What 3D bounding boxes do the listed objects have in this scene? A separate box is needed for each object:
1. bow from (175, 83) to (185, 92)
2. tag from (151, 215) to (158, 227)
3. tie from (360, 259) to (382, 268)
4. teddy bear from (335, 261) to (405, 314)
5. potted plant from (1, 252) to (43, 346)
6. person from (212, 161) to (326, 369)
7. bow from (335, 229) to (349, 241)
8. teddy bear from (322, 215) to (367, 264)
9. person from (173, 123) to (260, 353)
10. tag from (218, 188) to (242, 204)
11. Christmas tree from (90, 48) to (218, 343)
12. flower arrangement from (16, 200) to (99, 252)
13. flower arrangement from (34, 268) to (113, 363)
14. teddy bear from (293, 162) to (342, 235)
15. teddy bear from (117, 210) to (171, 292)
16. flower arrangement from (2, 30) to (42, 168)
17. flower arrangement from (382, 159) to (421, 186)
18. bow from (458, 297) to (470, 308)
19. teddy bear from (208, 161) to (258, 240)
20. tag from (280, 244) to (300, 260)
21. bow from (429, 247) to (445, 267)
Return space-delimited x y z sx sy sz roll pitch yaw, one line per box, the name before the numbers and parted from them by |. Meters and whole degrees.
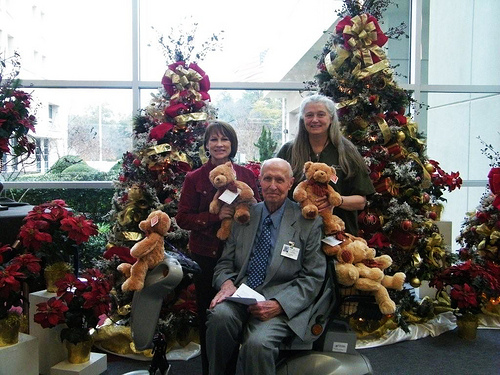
bow | -0.766 -1.103 4.495 0.078 0.069 0.018 -1 6 15
tag | -0.713 0.256 3.083 0.077 0.074 0.008 -13 -27 28
tie | 0.903 0.574 3.091 0.126 0.067 0.042 21 -29 -20
teddy bear | 0.875 0.728 3.011 0.519 0.358 0.248 0 9 4
potted plant | -1.851 0.873 3.367 0.307 0.675 0.457 -5 10 -27
person | 0.126 0.558 3.014 0.807 1.464 0.755 3 10 17
bow | 0.700 0.370 3.158 0.075 0.035 0.074 -8 13 -36
teddy bear | 0.668 0.409 3.137 0.282 0.151 0.360 -5 46 -25
person | -0.260 0.459 3.601 0.779 1.960 0.553 1 27 -4
tag | -0.159 0.065 3.248 0.134 0.094 0.006 10 -31 0
Christmas tree | -1.067 -0.179 4.396 1.106 3.395 0.969 -1 9 -28
flower arrangement | -1.567 0.263 3.514 0.570 0.422 0.517 1 7 13
flower arrangement | -1.435 1.091 3.387 0.565 0.767 0.294 -3 10 -19
teddy bear | 0.535 0.060 3.246 0.407 0.541 0.324 7 3 9
teddy bear | -0.848 0.441 3.141 0.353 0.615 0.342 -7 13 -42
flower arrangement | -2.384 -0.824 4.207 0.368 1.295 1.286 -5 10 -26
flower arrangement | 1.534 -0.153 4.245 0.348 0.274 0.132 -2 9 -13
bow | 2.202 1.217 4.278 0.102 0.104 0.041 3 10 21
teddy bear | -0.162 0.087 3.283 0.364 0.558 0.325 -15 5 24
tag | 0.292 0.488 3.069 0.108 0.077 0.015 19 -22 10
bow | 1.971 0.744 4.374 0.148 0.193 0.047 -12 -9 -4
